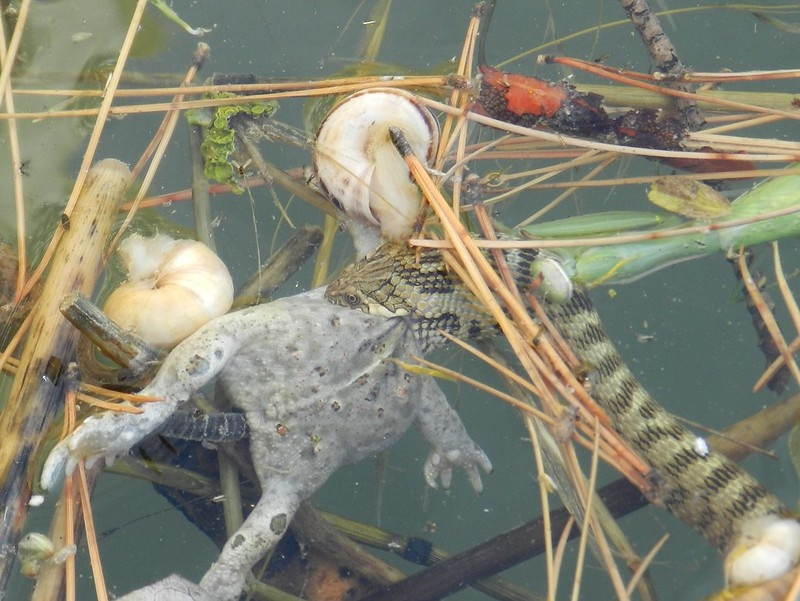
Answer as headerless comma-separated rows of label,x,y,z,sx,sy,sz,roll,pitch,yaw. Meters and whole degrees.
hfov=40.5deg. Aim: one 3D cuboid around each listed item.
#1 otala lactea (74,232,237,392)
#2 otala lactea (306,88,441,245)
otala lactea,-0.959,0.071,4.241,0.471,0.397,0.555,22,40,13
otala lactea,-0.110,-0.549,4.335,0.489,0.515,0.269,12,37,1
